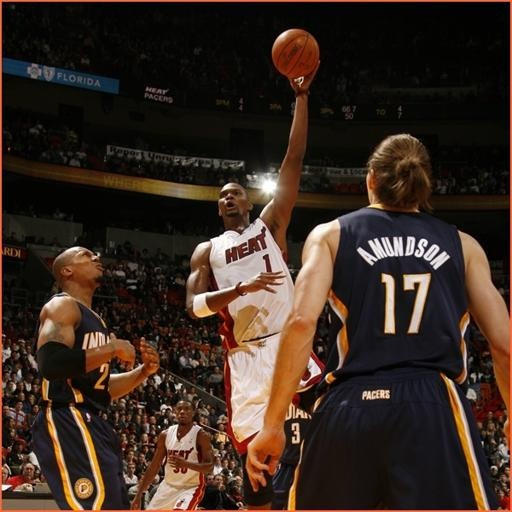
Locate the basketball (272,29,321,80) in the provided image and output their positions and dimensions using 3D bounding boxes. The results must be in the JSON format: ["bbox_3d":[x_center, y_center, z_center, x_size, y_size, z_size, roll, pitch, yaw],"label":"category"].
[{"bbox_3d":[0.289,-1.512,5.463,0.340,0.435,0.293,2,-6,2],"label":"basketball"}]
